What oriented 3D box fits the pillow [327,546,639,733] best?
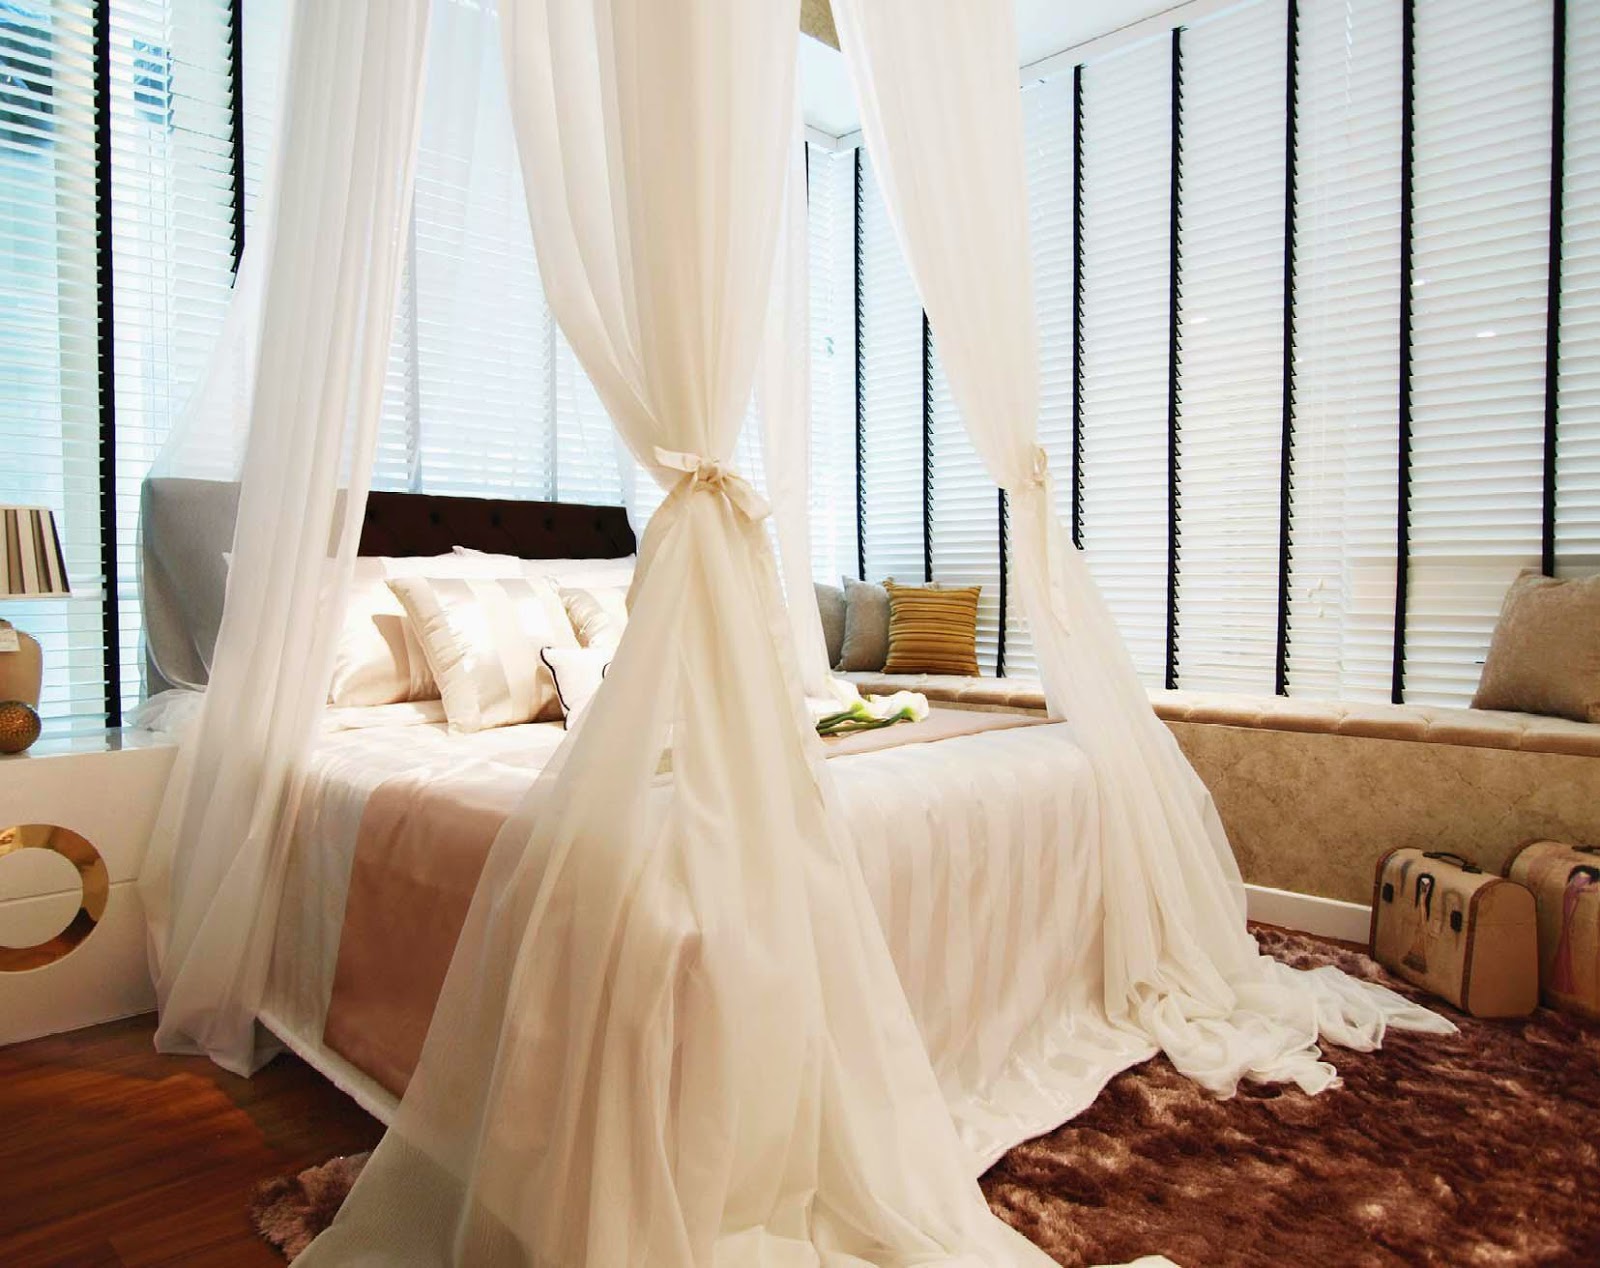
[{"bbox_3d":[-0.941,0.005,3.252,0.837,0.488,0.634,-2,4,-25],"label":"pillow"}]

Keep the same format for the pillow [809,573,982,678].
[{"bbox_3d":[0.381,-0.022,4.556,0.405,0.296,0.152,-4,-11,14],"label":"pillow"}]

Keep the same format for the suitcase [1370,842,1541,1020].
[{"bbox_3d":[1.725,0.767,3.130,0.287,0.604,0.566,2,-3,-12],"label":"suitcase"}]

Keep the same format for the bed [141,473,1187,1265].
[{"bbox_3d":[-0.374,0.527,2.397,1.584,0.438,1.669,2,1,-28],"label":"bed"}]
